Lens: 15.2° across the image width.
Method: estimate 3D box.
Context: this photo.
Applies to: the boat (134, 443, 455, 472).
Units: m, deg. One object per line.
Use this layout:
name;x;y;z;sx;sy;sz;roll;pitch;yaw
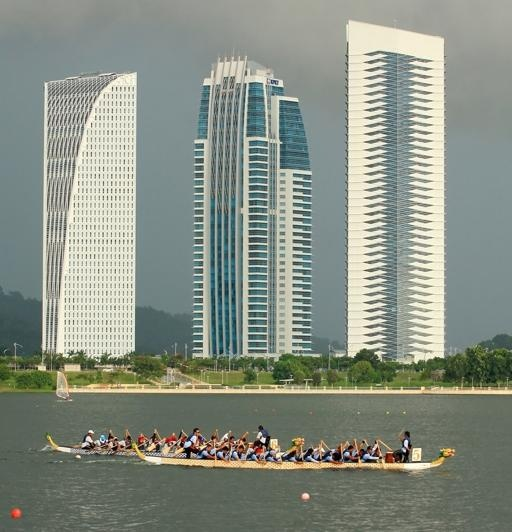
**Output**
boat;3.960;33.435;330.404;47.512;3.519;5.250;-1;-7;3
